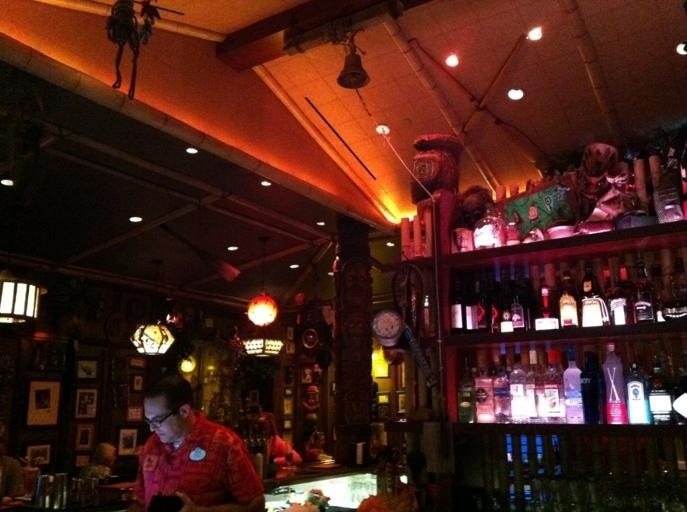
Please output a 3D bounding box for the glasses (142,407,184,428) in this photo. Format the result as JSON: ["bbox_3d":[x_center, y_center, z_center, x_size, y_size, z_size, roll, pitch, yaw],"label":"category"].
[{"bbox_3d":[-1.142,1.021,3.515,0.149,0.049,0.158,-16,-14,27],"label":"glasses"}]

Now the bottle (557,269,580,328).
[{"bbox_3d":[1.692,0.328,4.133,0.149,0.471,0.281,-10,-19,23],"label":"bottle"}]

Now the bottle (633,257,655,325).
[{"bbox_3d":[2.173,0.259,3.970,0.143,0.493,0.303,-12,-19,28],"label":"bottle"}]

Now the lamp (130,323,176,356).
[{"bbox_3d":[-3.088,1.334,8.920,0.541,0.389,0.560,-1,-5,-3],"label":"lamp"}]

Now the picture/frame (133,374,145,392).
[{"bbox_3d":[-3.896,2.432,10.310,0.229,0.352,0.241,-1,-9,9],"label":"picture/frame"}]

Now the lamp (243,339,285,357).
[{"bbox_3d":[-1.487,1.666,9.875,0.495,0.284,0.618,-14,-21,31],"label":"lamp"}]

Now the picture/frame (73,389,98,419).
[{"bbox_3d":[-4.528,2.599,9.494,0.058,0.591,0.504,-14,-17,29],"label":"picture/frame"}]

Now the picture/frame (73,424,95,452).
[{"bbox_3d":[-4.510,3.163,9.411,0.057,0.589,0.440,-14,-17,34],"label":"picture/frame"}]
